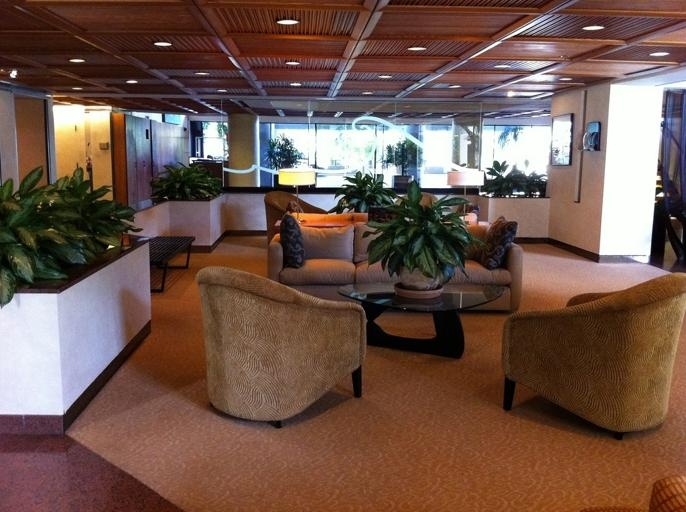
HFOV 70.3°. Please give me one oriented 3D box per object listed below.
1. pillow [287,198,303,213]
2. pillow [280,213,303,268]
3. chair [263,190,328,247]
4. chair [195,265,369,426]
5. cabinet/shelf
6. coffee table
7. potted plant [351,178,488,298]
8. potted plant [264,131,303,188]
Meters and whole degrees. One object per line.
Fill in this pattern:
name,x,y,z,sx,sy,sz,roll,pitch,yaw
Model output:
pillow,-0.791,-0.789,7.721,0.243,0.124,0.374,2,13,-2
pillow,-0.583,-0.145,5.452,0.269,0.525,0.655,-4,-8,2
chair,-0.926,-0.659,8.343,1.170,0.993,0.935,-1,11,7
chair,-0.544,0.618,3.531,1.276,0.853,1.157,0,-10,-18
cabinet/shelf,-5.810,-2.667,13.319,0.727,2.326,2.262,-3,14,-13
coffee table,0.725,0.555,4.240,1.155,0.331,0.800,4,14,20
potted plant,0.745,-0.213,4.281,1.087,0.658,1.099,9,15,39
potted plant,-0.989,-2.043,10.094,0.853,0.868,0.694,4,16,8
